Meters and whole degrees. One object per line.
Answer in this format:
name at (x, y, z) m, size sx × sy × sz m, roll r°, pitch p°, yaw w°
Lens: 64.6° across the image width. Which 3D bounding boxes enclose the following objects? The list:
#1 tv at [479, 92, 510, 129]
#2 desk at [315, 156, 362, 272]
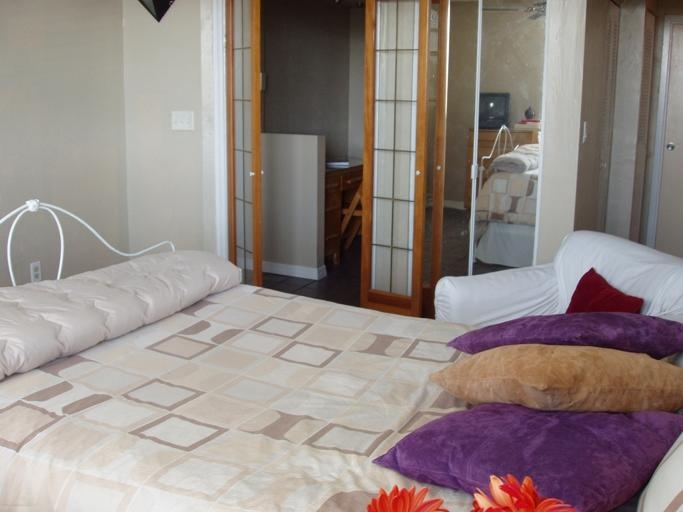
tv at (1.100, -1.019, 3.928) m, size 0.265 × 0.277 × 0.227 m, roll 4°, pitch 12°, yaw 23°
desk at (-0.044, -0.425, 5.684) m, size 0.373 × 0.824 × 0.982 m, roll 7°, pitch 24°, yaw 18°
